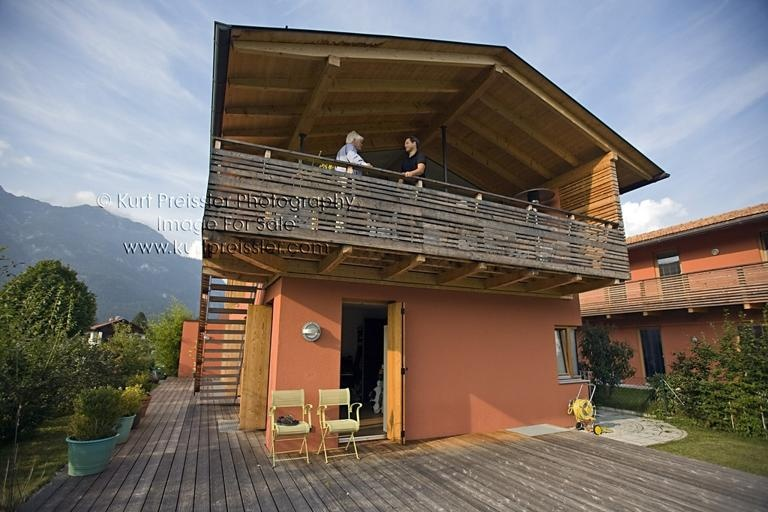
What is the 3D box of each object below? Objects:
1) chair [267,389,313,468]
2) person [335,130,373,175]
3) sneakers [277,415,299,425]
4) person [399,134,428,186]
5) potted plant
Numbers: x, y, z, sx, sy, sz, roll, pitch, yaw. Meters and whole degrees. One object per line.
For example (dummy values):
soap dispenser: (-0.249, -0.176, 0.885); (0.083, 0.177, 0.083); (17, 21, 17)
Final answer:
chair: (-2.471, 4.455, 12.081); (1.121, 1.708, 1.102); (0, 6, -14)
person: (-0.842, -2.977, 12.752); (0.806, 1.351, 1.879); (0, 6, -5)
sneakers: (-2.498, 4.338, 11.965); (0.363, 0.136, 0.258); (4, -5, 8)
person: (0.906, -2.723, 12.987); (0.694, 1.423, 1.258); (1, 6, 3)
potted plant: (-7.242, 4.247, 11.868); (0.984, 2.071, 1.934); (1, 6, 2)
